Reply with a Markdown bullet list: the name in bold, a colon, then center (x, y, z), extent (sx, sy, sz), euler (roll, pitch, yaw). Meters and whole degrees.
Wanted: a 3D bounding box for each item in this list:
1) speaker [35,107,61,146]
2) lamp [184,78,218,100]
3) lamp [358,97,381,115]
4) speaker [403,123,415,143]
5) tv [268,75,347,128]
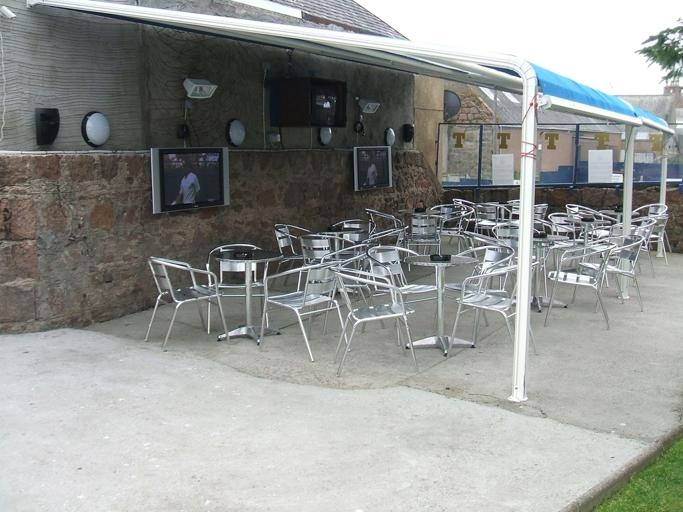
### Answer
- **speaker**: center (-3.246, -1.403, 5.869), extent (0.081, 0.421, 0.262), euler (7, 12, 29)
- **lamp**: center (-1.935, -2.248, 7.200), extent (0.448, 0.226, 0.303), euler (-14, -23, -42)
- **lamp**: center (0.599, -2.986, 10.727), extent (0.564, 0.299, 0.440), euler (21, 26, 22)
- **speaker**: center (1.557, -2.801, 12.215), extent (0.170, 0.446, 0.413), euler (7, 11, 30)
- **tv**: center (-0.608, -2.468, 8.980), extent (1.296, 0.695, 0.696), euler (-7, 11, -35)
